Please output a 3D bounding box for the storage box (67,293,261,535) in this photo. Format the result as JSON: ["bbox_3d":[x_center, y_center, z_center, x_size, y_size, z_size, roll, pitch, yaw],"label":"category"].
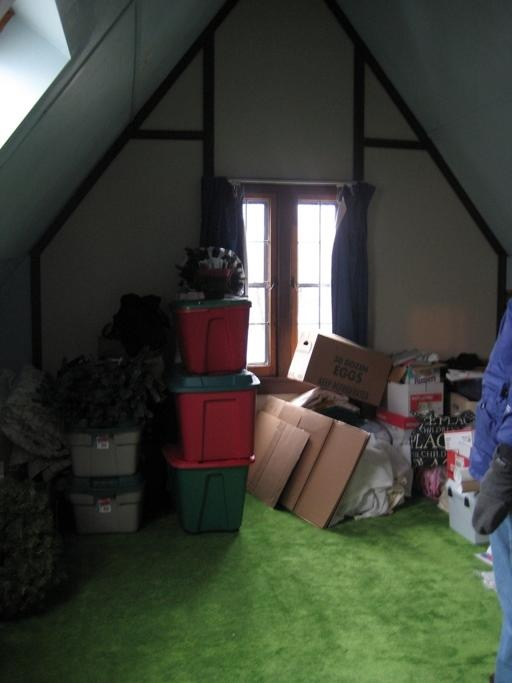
[{"bbox_3d":[-0.605,0.346,3.343,1.216,1.379,0.793,-3,7,-12],"label":"storage box"}]
